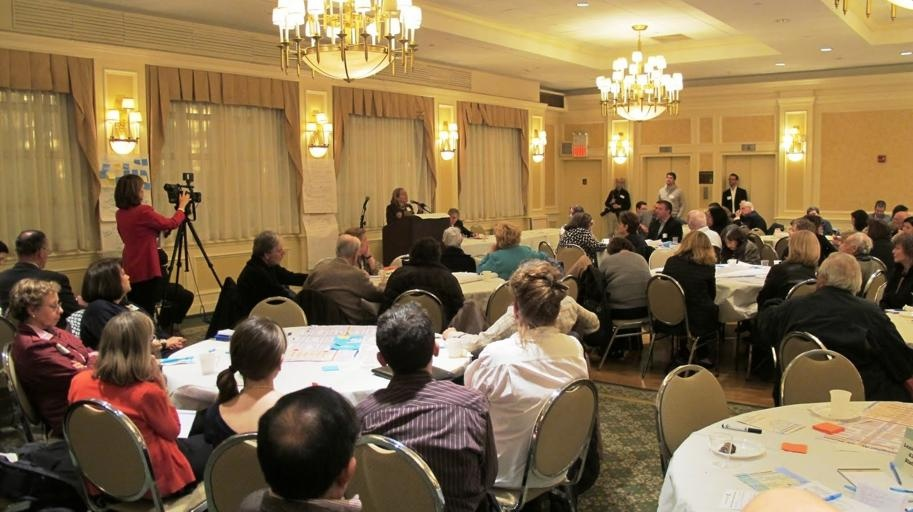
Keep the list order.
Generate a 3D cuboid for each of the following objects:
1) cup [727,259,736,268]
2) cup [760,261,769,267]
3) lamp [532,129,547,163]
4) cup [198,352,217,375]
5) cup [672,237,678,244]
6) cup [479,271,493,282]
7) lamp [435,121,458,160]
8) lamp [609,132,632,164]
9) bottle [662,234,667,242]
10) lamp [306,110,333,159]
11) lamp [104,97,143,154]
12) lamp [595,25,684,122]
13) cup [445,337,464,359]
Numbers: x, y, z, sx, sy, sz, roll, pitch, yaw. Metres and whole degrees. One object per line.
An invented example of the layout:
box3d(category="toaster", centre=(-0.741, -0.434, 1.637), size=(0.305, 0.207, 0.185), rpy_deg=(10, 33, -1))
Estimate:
box3d(category="cup", centre=(3.679, 0.107, 8.548), size=(0.182, 0.128, 0.122), rpy_deg=(-1, 1, 17))
box3d(category="cup", centre=(4.254, 0.122, 8.841), size=(0.078, 0.133, 0.092), rpy_deg=(-5, 3, -44))
box3d(category="lamp", centre=(1.981, -2.606, 15.245), size=(0.275, 0.749, 0.930), rpy_deg=(1, 6, 18))
box3d(category="cup", centre=(-2.043, 0.892, 5.337), size=(0.117, 0.167, 0.184), rpy_deg=(-2, -2, 44))
box3d(category="cup", centre=(3.738, -0.256, 10.945), size=(0.122, 0.123, 0.114), rpy_deg=(1, 6, 0))
box3d(category="cup", centre=(0.367, 0.259, 7.976), size=(0.130, 0.092, 0.101), rpy_deg=(-2, 3, 7))
box3d(category="lamp", centre=(-0.207, -2.307, 12.749), size=(0.429, 0.761, 0.160), rpy_deg=(-7, 9, -43))
box3d(category="lamp", centre=(4.006, -2.642, 15.638), size=(0.506, 0.785, 0.204), rpy_deg=(0, 7, 12))
box3d(category="bottle", centre=(3.648, -0.299, 11.193), size=(0.126, 0.123, 0.123), rpy_deg=(-8, -9, 37))
box3d(category="lamp", centre=(-2.294, -2.023, 10.739), size=(0.160, 0.776, 0.482), rpy_deg=(4, 9, 42))
box3d(category="lamp", centre=(-4.623, -1.780, 8.843), size=(0.427, 0.762, 0.158), rpy_deg=(-5, 7, -27))
box3d(category="lamp", centre=(3.230, -3.205, 11.356), size=(1.233, 1.630, 3.393), rpy_deg=(0, 6, 15))
box3d(category="cup", centre=(-0.015, 0.796, 5.426), size=(0.157, 0.152, 0.156), rpy_deg=(-1, -4, 0))
